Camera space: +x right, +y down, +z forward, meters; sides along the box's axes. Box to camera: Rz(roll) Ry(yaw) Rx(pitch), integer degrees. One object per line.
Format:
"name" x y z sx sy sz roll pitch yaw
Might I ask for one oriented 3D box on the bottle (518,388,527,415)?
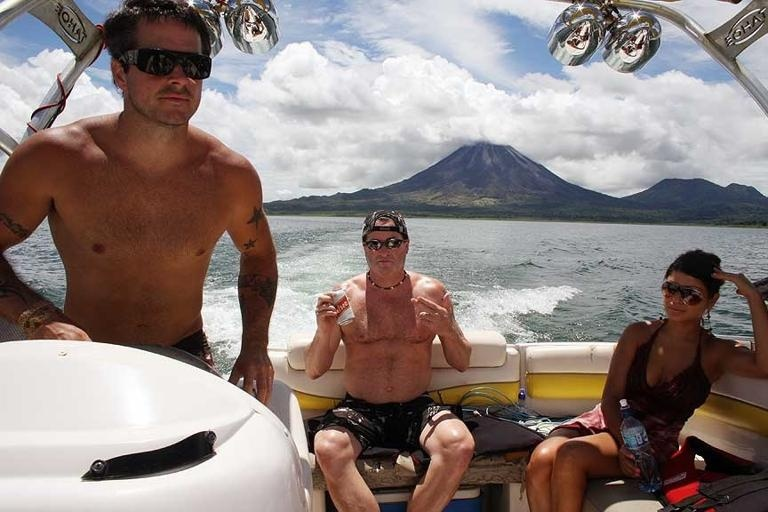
"bottle" 1.188 1.216 4.188 0.037 0.133 0.145 5 -2 -2

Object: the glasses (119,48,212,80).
"glasses" -0.971 -0.840 2.158 0.412 0.132 0.082 0 11 -1

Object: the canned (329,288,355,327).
"canned" -0.293 0.370 3.430 0.152 0.148 0.254 -18 51 -1

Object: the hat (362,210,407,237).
"hat" 0.008 -0.226 3.844 0.233 0.147 0.278 1 -7 -1

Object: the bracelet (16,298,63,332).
"bracelet" -1.300 0.227 1.849 0.098 0.036 0.114 11 21 0
